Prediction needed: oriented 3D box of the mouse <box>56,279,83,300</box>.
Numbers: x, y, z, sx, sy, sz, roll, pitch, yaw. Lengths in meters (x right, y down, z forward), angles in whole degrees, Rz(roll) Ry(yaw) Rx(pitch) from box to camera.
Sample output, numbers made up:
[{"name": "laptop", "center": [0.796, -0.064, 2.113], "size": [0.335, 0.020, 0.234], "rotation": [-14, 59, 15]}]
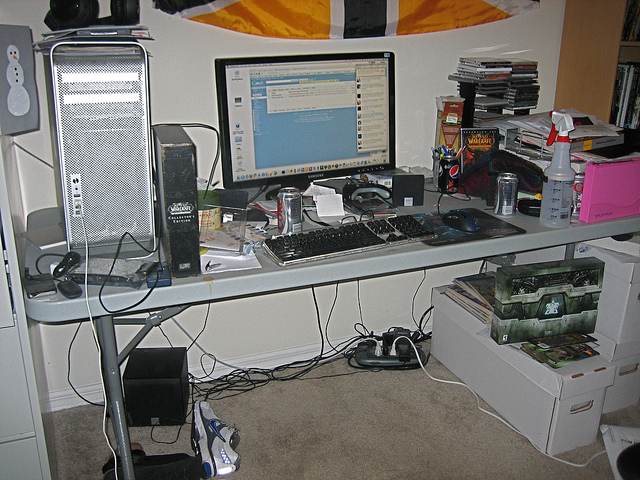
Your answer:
[{"name": "mouse", "center": [-0.751, 0.151, 1.660], "size": [0.045, 0.022, 0.075], "rotation": [-11, 36, -36]}]

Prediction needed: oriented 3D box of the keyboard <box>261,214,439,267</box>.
[{"name": "keyboard", "center": [0.113, -0.001, 1.961], "size": [0.635, 0.078, 0.166], "rotation": [-8, 18, -19]}]

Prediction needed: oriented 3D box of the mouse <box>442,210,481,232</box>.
[{"name": "mouse", "center": [0.535, -0.072, 2.059], "size": [0.072, 0.033, 0.100], "rotation": [-11, 17, -41]}]

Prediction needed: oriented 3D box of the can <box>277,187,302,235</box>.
[{"name": "can", "center": [-0.112, -0.107, 2.064], "size": [0.097, 0.174, 0.097], "rotation": [0, 27, 0]}]

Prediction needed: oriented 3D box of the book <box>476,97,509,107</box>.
[{"name": "book", "center": [0.806, -0.650, 2.623], "size": [0.157, 0.042, 0.085], "rotation": [-8, 18, -20]}]

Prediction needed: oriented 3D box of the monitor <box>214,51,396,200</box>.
[{"name": "monitor", "center": [-0.032, -0.466, 2.254], "size": [0.755, 0.555, 0.137], "rotation": [-11, 19, -27]}]

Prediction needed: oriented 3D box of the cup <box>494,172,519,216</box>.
[{"name": "cup", "center": [0.752, -0.186, 2.224], "size": [0.088, 0.161, 0.135], "rotation": [4, 18, 17]}]

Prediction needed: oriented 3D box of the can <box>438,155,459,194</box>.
[{"name": "can", "center": [0.560, -0.285, 2.421], "size": [0.116, 0.159, 0.117], "rotation": [0, 14, 0]}]

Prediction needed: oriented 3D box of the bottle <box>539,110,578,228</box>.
[{"name": "bottle", "center": [0.917, -0.263, 2.105], "size": [0.113, 0.415, 0.156], "rotation": [5, 18, 23]}]
